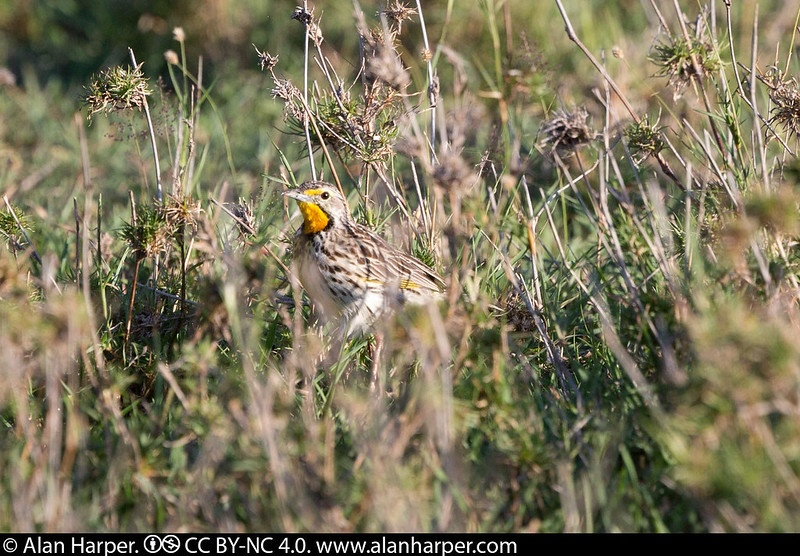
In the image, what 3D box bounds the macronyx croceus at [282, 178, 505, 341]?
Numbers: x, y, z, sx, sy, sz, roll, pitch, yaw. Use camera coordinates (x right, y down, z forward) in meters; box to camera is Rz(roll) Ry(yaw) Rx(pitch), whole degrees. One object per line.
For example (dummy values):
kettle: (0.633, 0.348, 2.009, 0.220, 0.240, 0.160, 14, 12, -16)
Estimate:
macronyx croceus: (-0.151, -0.112, 4.860, 0.964, 0.576, 0.835, 0, 95, -28)
